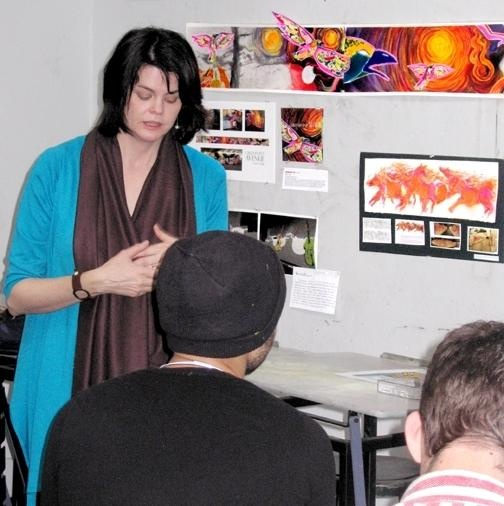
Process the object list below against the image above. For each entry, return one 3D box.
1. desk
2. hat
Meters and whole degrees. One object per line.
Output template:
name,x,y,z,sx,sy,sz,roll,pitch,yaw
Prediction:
desk,0.349,0.485,1.882,0.415,0.310,0.616,0,1,-33
hat,-0.049,0.056,0.845,0.143,0.159,0.197,8,26,27
